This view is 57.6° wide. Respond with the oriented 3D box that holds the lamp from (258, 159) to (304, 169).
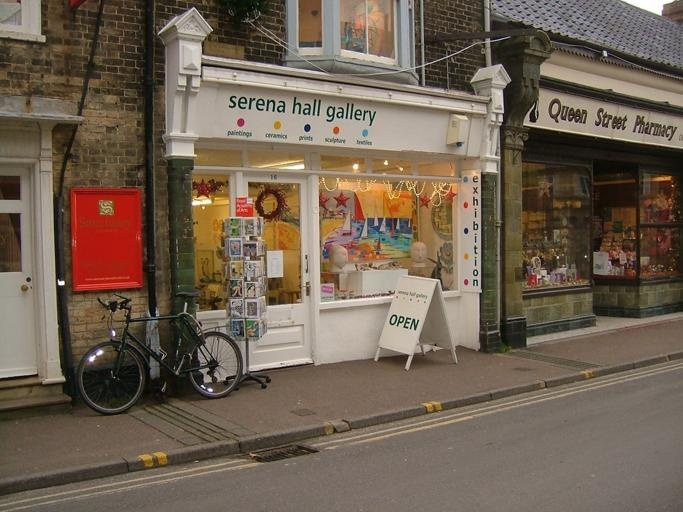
[{"bbox_3d":[-1.039,-1.628,11.124,1.049,0.156,0.214,-6,22,-37],"label":"lamp"}]
